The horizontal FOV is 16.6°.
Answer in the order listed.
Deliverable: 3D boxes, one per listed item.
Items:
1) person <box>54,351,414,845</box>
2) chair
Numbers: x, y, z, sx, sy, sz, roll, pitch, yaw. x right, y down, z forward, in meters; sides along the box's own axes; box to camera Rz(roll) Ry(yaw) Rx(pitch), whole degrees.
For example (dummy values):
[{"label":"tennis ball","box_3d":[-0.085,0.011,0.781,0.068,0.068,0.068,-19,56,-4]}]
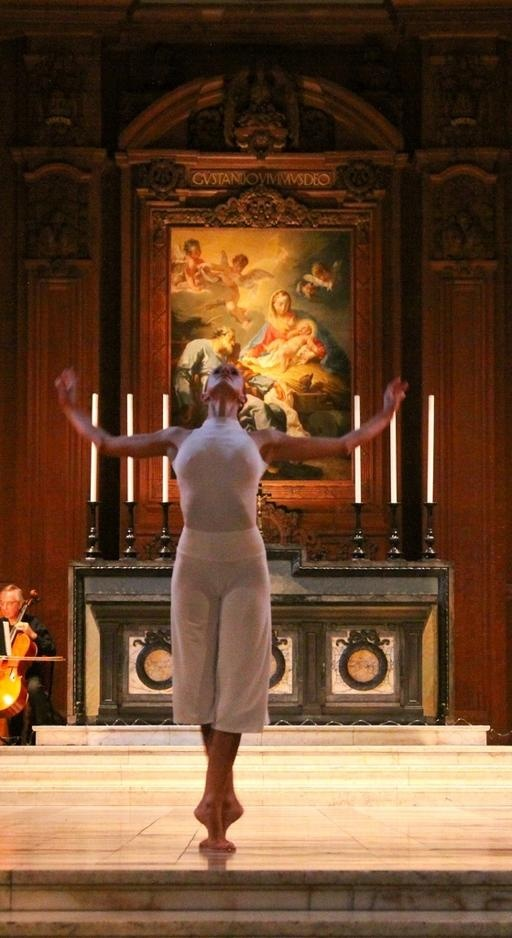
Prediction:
[{"label":"person","box_3d":[-0.108,0.457,6.099,1.041,1.680,0.457,0,-5,2]},{"label":"chair","box_3d":[-1.068,1.046,8.605,0.259,0.593,0.174,2,2,20]}]
